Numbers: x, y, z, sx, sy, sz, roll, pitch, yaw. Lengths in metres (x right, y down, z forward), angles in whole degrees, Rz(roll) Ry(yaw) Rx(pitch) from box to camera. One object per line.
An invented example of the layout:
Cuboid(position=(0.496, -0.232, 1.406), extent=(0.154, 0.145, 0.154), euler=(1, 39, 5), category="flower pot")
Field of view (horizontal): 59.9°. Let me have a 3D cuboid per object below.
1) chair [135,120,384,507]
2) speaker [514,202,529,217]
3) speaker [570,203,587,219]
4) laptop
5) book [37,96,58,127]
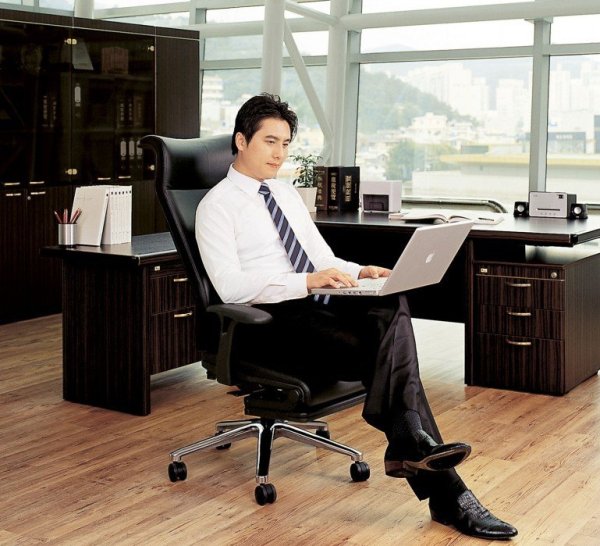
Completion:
Cuboid(position=(-0.156, 0.135, 2.067), extent=(0.804, 1.251, 0.773), euler=(2, 5, 21), category="chair")
Cuboid(position=(1.677, -0.472, 3.956), extent=(0.118, 0.121, 0.123), euler=(-1, 5, 16), category="speaker")
Cuboid(position=(1.978, -0.431, 3.683), extent=(0.122, 0.120, 0.106), euler=(0, 1, 33), category="speaker")
Cuboid(position=(0.365, -0.075, 1.747), extent=(0.364, 0.222, 0.382), euler=(6, 8, 33), category="laptop")
Cuboid(position=(-2.411, -1.528, 4.929), extent=(0.233, 0.343, 0.076), euler=(-5, 5, -43), category="book")
